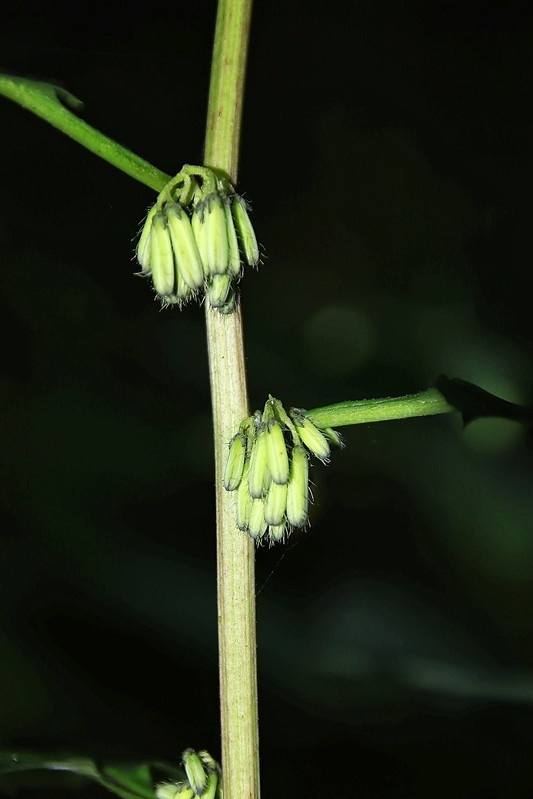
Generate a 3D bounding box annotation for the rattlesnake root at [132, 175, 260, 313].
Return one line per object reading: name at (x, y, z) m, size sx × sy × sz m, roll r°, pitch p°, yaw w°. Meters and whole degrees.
rattlesnake root at (-0.101, -0.199, 1.102) m, size 0.157 × 0.079 × 0.200 m, roll -2°, pitch -85°, yaw 4°
